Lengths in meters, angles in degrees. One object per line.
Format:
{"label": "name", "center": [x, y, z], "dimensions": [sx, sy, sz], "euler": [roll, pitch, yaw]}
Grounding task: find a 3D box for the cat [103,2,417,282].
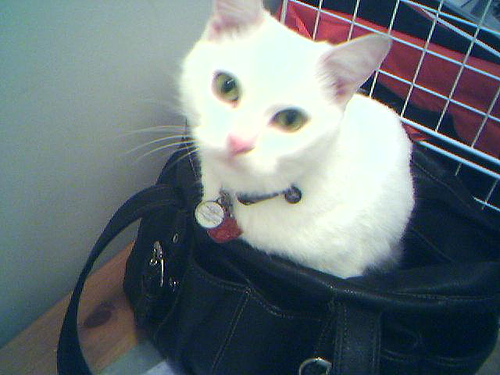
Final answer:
{"label": "cat", "center": [0.067, -0.097, 1.025], "dimensions": [0.376, 0.503, 0.576], "euler": [14, 27, 22]}
